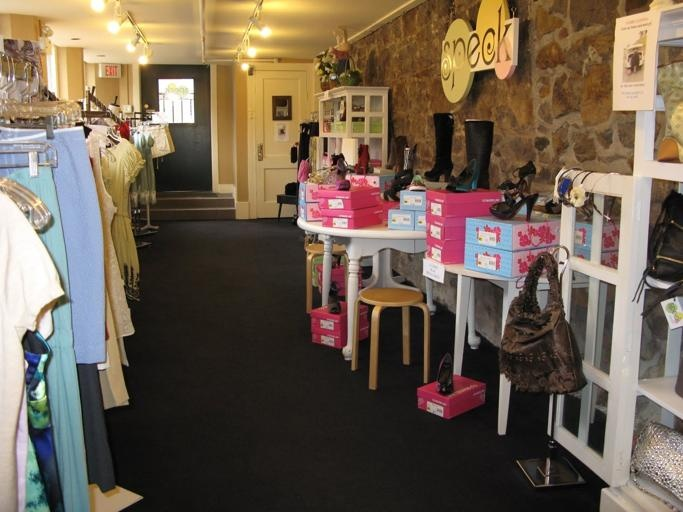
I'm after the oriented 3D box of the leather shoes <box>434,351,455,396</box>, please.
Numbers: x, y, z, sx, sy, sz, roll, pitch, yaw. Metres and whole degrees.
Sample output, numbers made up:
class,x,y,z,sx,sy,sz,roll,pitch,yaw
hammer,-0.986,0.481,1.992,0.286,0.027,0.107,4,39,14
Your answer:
class,x,y,z,sx,sy,sz,roll,pitch,yaw
leather shoes,0.600,0.692,3.050,0.083,0.282,0.101,5,7,41

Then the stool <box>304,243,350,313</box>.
class,x,y,z,sx,sy,sz,roll,pitch,yaw
stool,-0.102,0.205,4.985,0.435,0.588,0.467,-2,1,28

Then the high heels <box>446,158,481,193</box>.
class,x,y,z,sx,sy,sz,roll,pitch,yaw
high heels,0.782,-0.526,3.337,0.193,0.178,0.322,3,15,13

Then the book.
class,x,y,z,sx,sy,sz,roll,pitch,yaw
book,1.154,-0.755,2.029,0.080,0.360,0.235,-1,13,-3

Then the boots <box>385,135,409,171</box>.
class,x,y,z,sx,sy,sz,roll,pitch,yaw
boots,0.622,-1.099,5.552,0.246,0.358,0.377,-4,14,-16

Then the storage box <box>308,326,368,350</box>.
class,x,y,z,sx,sy,sz,roll,pitch,yaw
storage box,-0.049,0.627,3.980,0.188,0.128,0.250,-5,7,-42

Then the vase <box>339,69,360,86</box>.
class,x,y,z,sx,sy,sz,roll,pitch,yaw
vase,0.102,-2.140,6.209,0.253,0.185,0.182,-1,14,-4

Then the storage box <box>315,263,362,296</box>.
class,x,y,z,sx,sy,sz,roll,pitch,yaw
storage box,-0.078,0.199,4.899,0.322,0.234,0.334,-2,7,-18

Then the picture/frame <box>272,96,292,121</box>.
class,x,y,z,sx,sy,sz,roll,pitch,yaw
picture/frame,-1.134,-2.779,9.649,0.380,0.500,0.018,-6,23,-11

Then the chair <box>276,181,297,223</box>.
class,x,y,z,sx,sy,sz,roll,pitch,yaw
chair,-0.974,-0.954,9.331,0.362,0.737,1.379,-2,14,-7

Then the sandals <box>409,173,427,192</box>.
class,x,y,z,sx,sy,sz,roll,pitch,yaw
sandals,0.532,-0.505,3.642,0.106,0.140,0.346,0,18,8

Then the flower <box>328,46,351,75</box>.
class,x,y,z,sx,sy,sz,roll,pitch,yaw
flower,-0.004,-2.478,6.574,0.220,0.325,0.507,-8,16,-27

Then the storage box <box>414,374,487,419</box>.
class,x,y,z,sx,sy,sz,roll,pitch,yaw
storage box,0.684,0.812,3.135,0.473,0.176,0.246,-8,16,-29

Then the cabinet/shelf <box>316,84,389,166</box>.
class,x,y,z,sx,sy,sz,roll,pitch,yaw
cabinet/shelf,0.163,-1.609,6.299,0.501,1.263,1.355,-2,13,-12

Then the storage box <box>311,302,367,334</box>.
class,x,y,z,sx,sy,sz,roll,pitch,yaw
storage box,-0.032,0.476,3.982,0.253,0.175,0.258,5,7,44

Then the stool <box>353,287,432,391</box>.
class,x,y,z,sx,sy,sz,roll,pitch,yaw
stool,0.354,0.458,3.644,0.556,0.797,0.573,-3,12,-17

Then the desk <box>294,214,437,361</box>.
class,x,y,z,sx,sy,sz,roll,pitch,yaw
desk,0.254,0.022,3.990,1.035,0.843,1.023,-7,13,-38

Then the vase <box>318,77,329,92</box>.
class,x,y,z,sx,sy,sz,roll,pitch,yaw
vase,-0.210,-2.263,6.856,0.174,0.161,0.197,4,16,16
